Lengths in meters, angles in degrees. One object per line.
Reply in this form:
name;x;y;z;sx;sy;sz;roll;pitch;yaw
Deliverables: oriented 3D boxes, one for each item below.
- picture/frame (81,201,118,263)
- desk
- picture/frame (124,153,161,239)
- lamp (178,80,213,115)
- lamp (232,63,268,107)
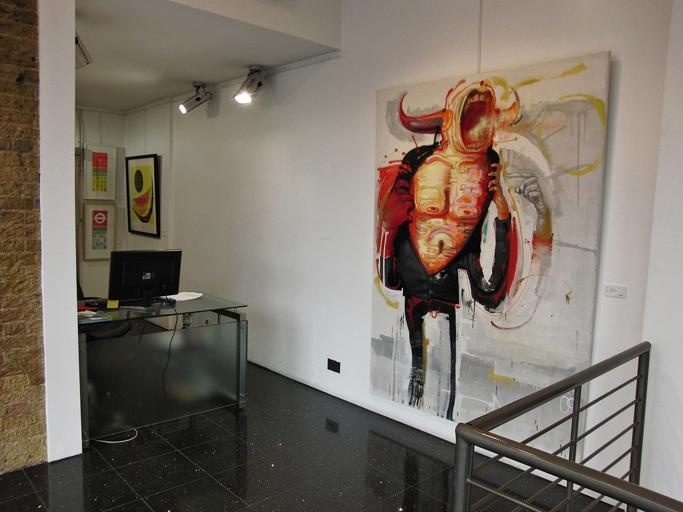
picture/frame;-3.637;-0.367;8.233;0.484;0.864;0.195;-4;12;-24
desk;-1.733;0.644;4.956;1.550;1.050;0.931;-4;7;-40
picture/frame;-2.827;-0.874;7.836;1.088;1.262;0.053;8;8;44
lamp;-1.709;-1.867;6.488;0.334;0.352;0.901;-1;12;-13
lamp;-0.954;-1.803;5.701;0.267;0.463;0.218;24;-2;-5
